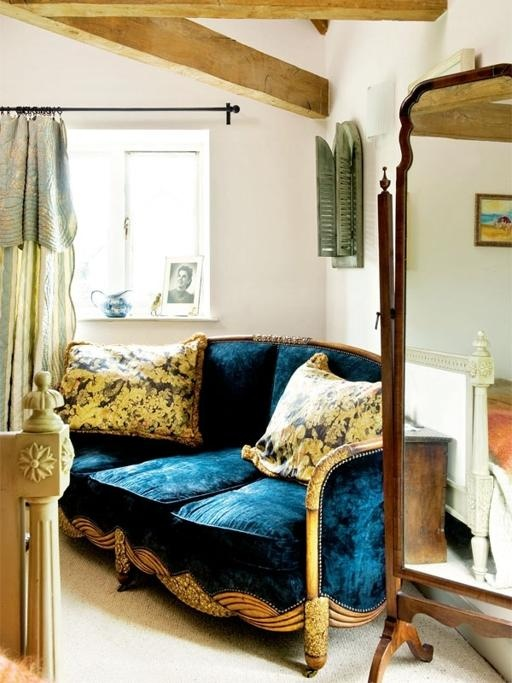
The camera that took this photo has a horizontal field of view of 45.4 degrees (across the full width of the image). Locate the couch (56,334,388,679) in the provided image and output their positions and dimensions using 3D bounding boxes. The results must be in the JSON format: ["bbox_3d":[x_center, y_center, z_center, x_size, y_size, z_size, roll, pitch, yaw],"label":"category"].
[{"bbox_3d":[-0.084,0.410,2.130,1.341,0.806,0.815,3,5,42],"label":"couch"}]

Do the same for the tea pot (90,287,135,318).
[{"bbox_3d":[-0.761,-0.200,3.173,0.184,0.129,0.144,-1,10,-9],"label":"tea pot"}]

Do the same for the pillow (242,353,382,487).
[{"bbox_3d":[0.198,0.247,1.897,0.292,0.227,0.565,-22,2,-17],"label":"pillow"}]
